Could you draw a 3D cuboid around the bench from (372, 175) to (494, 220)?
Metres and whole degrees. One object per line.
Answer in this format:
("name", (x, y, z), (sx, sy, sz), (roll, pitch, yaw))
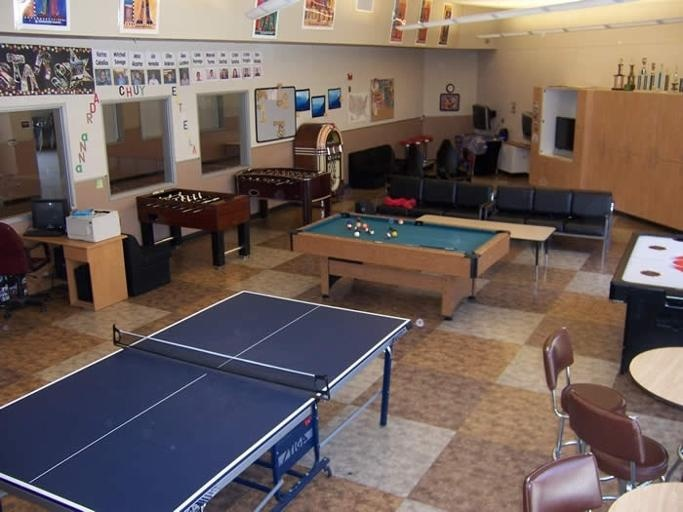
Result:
("bench", (1.909, -1.149, 10.290), (2.329, 0.841, 0.768), (5, 12, 13))

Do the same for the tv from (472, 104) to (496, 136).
("tv", (4.409, -4.215, 16.700), (0.598, 0.841, 0.994), (-11, 18, -16))

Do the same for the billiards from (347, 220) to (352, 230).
("billiards", (0.123, -0.454, 7.903), (0.086, 0.122, 0.090), (1, 2, 32))

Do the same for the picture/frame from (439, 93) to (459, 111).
("picture/frame", (3.411, -4.984, 17.375), (0.533, 0.461, 0.067), (-1, 11, -5))

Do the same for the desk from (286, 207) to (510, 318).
("desk", (0.860, 0.114, 7.781), (2.699, 1.064, 1.278), (9, 22, 25))

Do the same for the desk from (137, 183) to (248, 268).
("desk", (-2.483, -0.512, 9.337), (1.734, 1.109, 0.854), (8, 22, 22))

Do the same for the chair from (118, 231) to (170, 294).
("chair", (-3.063, 0.021, 8.465), (0.833, 1.027, 0.748), (-14, 21, -41))

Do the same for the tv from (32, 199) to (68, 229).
("tv", (-4.229, -0.615, 7.873), (0.408, 0.340, 0.221), (2, 7, 4))

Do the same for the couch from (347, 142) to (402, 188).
("couch", (0.792, -2.359, 14.198), (0.756, 0.792, 1.622), (20, 30, 41))

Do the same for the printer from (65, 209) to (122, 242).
("printer", (-3.545, -0.452, 7.721), (0.623, 0.371, 0.489), (9, 22, 25))

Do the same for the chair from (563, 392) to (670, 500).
("chair", (1.934, 1.369, 3.854), (0.569, 0.913, 0.498), (-22, 31, -25))
